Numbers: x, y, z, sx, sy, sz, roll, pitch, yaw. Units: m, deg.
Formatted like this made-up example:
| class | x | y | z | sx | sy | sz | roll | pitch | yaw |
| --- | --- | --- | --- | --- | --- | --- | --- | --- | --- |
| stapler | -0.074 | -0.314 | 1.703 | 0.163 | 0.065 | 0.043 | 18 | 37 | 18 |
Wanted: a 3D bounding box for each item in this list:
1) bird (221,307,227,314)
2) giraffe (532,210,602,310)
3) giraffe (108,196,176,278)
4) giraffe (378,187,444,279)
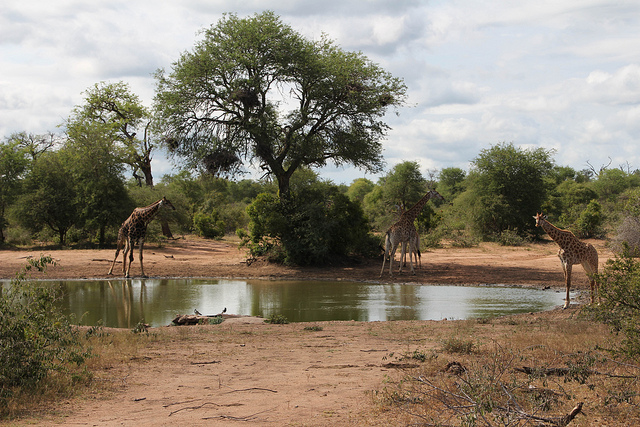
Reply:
| class | x | y | z | sx | sy | sz | roll | pitch | yaw |
| --- | --- | --- | --- | --- | --- | --- | --- | --- | --- |
| bird | -3.990 | 4.075 | 30.863 | 0.111 | 0.242 | 0.443 | 9 | -28 | -7 |
| giraffe | 10.772 | 2.006 | 32.365 | 2.293 | 3.803 | 3.622 | 2 | 7 | 17 |
| giraffe | -9.868 | 1.508 | 41.159 | 1.716 | 4.219 | 5.644 | 10 | -14 | -40 |
| giraffe | 4.877 | 1.077 | 41.966 | 2.900 | 4.675 | 4.851 | 1 | 7 | 5 |
